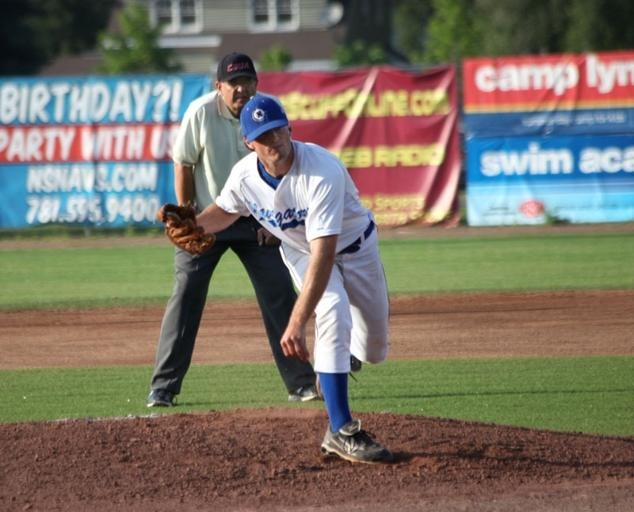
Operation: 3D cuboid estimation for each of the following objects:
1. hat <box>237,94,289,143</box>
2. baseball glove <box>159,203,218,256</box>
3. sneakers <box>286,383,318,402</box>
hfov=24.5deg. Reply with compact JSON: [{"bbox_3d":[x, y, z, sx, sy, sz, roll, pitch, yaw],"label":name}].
[{"bbox_3d":[-0.643,-1.631,16.916,0.400,0.359,0.573,-19,25,1],"label":"hat"},{"bbox_3d":[-1.545,-0.262,17.436,0.347,0.203,0.511,-21,-25,9],"label":"baseball glove"},{"bbox_3d":[-0.164,1.714,17.999,0.284,0.108,0.186,-7,-2,29],"label":"sneakers"}]
